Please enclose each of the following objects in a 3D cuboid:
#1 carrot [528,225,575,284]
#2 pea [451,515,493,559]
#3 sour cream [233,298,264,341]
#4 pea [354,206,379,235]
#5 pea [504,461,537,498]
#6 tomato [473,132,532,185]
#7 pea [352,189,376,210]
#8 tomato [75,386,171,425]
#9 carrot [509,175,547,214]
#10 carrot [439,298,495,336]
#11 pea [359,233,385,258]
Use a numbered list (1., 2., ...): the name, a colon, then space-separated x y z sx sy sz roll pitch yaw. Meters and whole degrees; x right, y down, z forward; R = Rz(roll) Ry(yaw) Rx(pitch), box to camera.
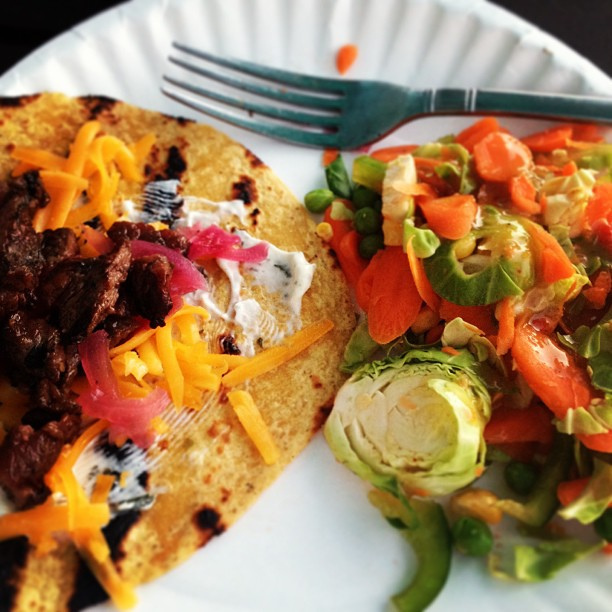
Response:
1. carrot: 1.034 -0.214 2.945 0.187 0.065 0.221 -31 73 12
2. pea: 0.682 0.974 2.898 0.182 0.196 0.125 6 91 -1
3. sour cream: -0.264 0.055 3.219 0.161 0.056 0.169 -10 82 -27
4. pea: 0.296 -0.416 3.321 0.140 0.086 0.115 7 96 30
5. pea: 0.911 0.763 3.007 0.156 0.127 0.134 -5 81 7
6. tomato: 0.912 -0.707 3.243 0.366 0.236 0.230 5 118 17
7. pea: 0.293 -0.545 3.468 0.139 0.113 0.108 1 93 8
8. tomato: -0.761 0.429 2.876 0.349 0.133 0.153 -5 77 -4
9. carrot: 0.992 -0.491 3.108 0.203 0.073 0.182 35 51 -18
10. carrot: 0.726 0.042 3.058 0.190 0.043 0.183 -18 103 26
11. pea: 0.325 -0.298 3.361 0.154 0.089 0.104 -18 31 -29
